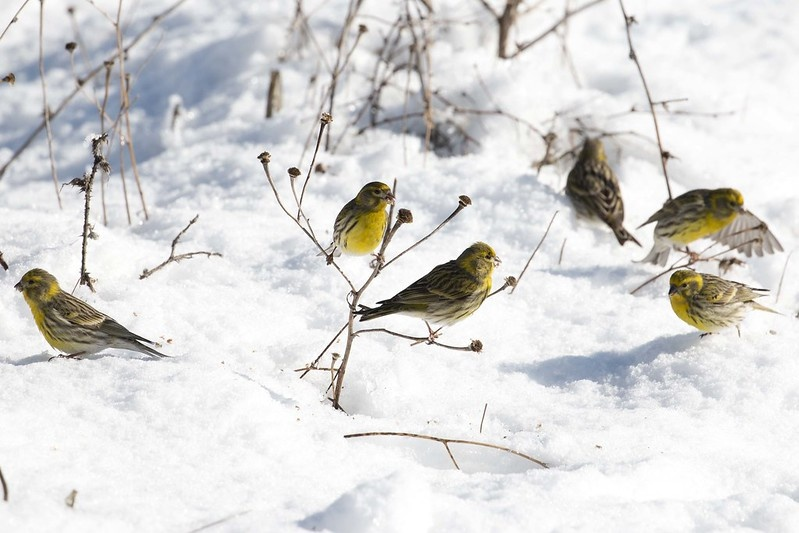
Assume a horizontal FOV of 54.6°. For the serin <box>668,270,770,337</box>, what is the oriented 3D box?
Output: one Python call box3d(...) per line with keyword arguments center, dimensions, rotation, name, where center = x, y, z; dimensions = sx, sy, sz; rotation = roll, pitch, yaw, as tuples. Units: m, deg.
box3d(center=(3.292, 0.335, 8.087), dimensions=(0.871, 0.426, 0.726), rotation=(-12, 80, 1), name="serin")
